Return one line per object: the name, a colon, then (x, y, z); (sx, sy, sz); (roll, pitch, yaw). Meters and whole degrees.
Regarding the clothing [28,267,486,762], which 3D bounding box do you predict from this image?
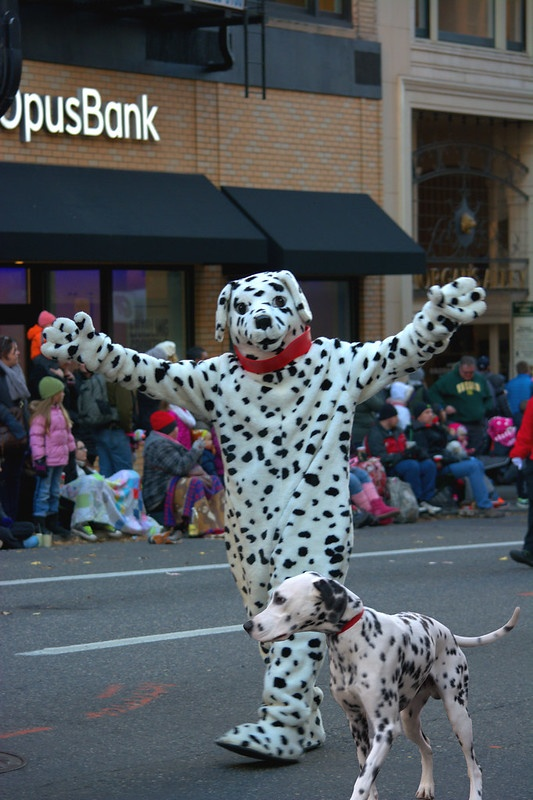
clothing: (-0.092, 0.755, 8.859); (2.702, 2.612, 1.284); (-5, -14, 21)
